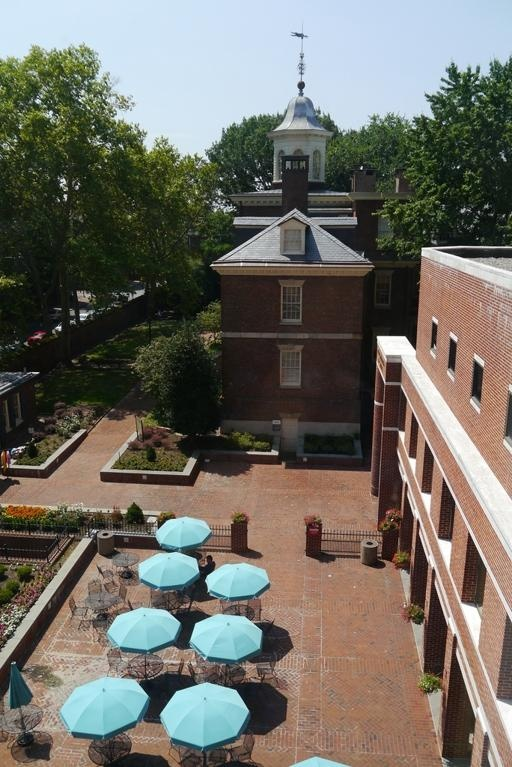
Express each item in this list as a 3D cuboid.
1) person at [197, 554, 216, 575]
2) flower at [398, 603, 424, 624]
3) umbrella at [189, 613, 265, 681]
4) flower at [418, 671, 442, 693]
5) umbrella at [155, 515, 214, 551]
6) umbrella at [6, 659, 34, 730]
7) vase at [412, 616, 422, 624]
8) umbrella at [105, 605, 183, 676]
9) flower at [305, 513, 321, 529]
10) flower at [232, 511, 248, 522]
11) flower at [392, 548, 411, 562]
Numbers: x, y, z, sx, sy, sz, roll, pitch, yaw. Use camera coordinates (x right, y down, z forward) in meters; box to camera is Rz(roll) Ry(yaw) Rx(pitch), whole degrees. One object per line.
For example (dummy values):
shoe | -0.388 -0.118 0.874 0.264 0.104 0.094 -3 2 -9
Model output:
person | -1.830 6.844 20.720 0.517 0.978 0.582 16 31 14
flower | 4.924 7.209 17.392 0.447 0.664 0.935 2 11 -2
umbrella | -0.759 6.338 13.871 1.323 1.486 1.368 -7 19 -19
flower | 4.322 7.458 13.710 0.544 0.454 0.576 1 12 14
umbrella | -2.556 5.467 19.559 1.793 0.755 1.524 0 12 -11
umbrella | -5.327 6.866 12.507 0.455 1.859 0.905 -3 12 -26
vase | 5.011 7.328 17.133 0.242 0.133 0.275 1 7 6
umbrella | -2.881 7.037 14.620 1.640 1.970 1.766 -1 15 -7
flower | 2.297 5.541 22.198 0.674 0.247 0.718 3 15 8
flower | -0.632 5.173 21.462 0.438 0.313 0.454 0 5 -7
flower | 5.444 6.555 20.617 0.440 0.615 0.671 1 11 -4
